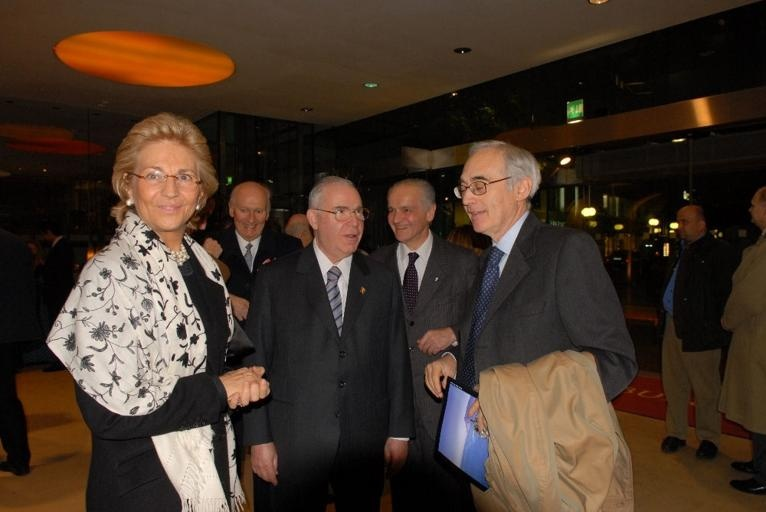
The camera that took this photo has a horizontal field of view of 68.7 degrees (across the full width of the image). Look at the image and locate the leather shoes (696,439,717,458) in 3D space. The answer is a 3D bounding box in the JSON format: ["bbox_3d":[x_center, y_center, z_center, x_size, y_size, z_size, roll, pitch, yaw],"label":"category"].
[{"bbox_3d":[3.433,2.065,5.994,0.230,0.185,0.096,-3,4,-23],"label":"leather shoes"}]

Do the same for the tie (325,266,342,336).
[{"bbox_3d":[-0.356,0.342,4.017,0.110,0.454,0.023,0,-15,-4],"label":"tie"}]

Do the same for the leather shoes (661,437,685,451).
[{"bbox_3d":[3.145,2.049,6.159,0.323,0.142,0.133,10,-10,-30],"label":"leather shoes"}]
